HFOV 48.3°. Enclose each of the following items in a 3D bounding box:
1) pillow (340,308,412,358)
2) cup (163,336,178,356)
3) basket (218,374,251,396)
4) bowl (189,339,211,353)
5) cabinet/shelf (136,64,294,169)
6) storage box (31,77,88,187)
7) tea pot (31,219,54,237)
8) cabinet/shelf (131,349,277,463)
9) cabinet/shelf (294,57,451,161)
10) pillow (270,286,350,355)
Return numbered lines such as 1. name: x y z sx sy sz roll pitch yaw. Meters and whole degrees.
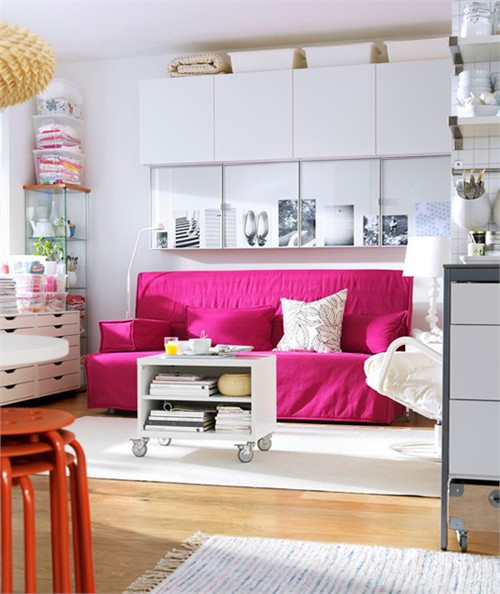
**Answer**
1. pillow: 0.886 0.253 4.077 0.382 0.356 0.114 -1 -30 40
2. cup: -0.414 0.276 3.091 0.103 0.105 0.095 2 -1 0
3. basket: -0.076 0.457 2.890 0.135 0.110 0.173 1 -3 -22
4. bowl: -0.261 0.256 2.985 0.098 0.056 0.083 -3 -2 12
5. cabinet/shelf: -0.240 -1.598 5.053 1.467 0.753 0.481 5 14 19
6. storage box: -1.825 -1.533 5.310 0.423 0.957 0.512 0 -3 -1
7. tea pot: -1.904 -0.635 5.170 0.213 0.185 0.071 -1 -3 13
8. cabinet/shelf: -0.252 0.471 3.111 0.981 0.640 0.532 1 1 14
9. cabinet/shelf: 1.087 -1.612 4.801 0.434 0.733 1.342 -2 16 -42
10. pillow: 0.462 0.176 4.180 0.509 0.460 0.339 0 -3 9
